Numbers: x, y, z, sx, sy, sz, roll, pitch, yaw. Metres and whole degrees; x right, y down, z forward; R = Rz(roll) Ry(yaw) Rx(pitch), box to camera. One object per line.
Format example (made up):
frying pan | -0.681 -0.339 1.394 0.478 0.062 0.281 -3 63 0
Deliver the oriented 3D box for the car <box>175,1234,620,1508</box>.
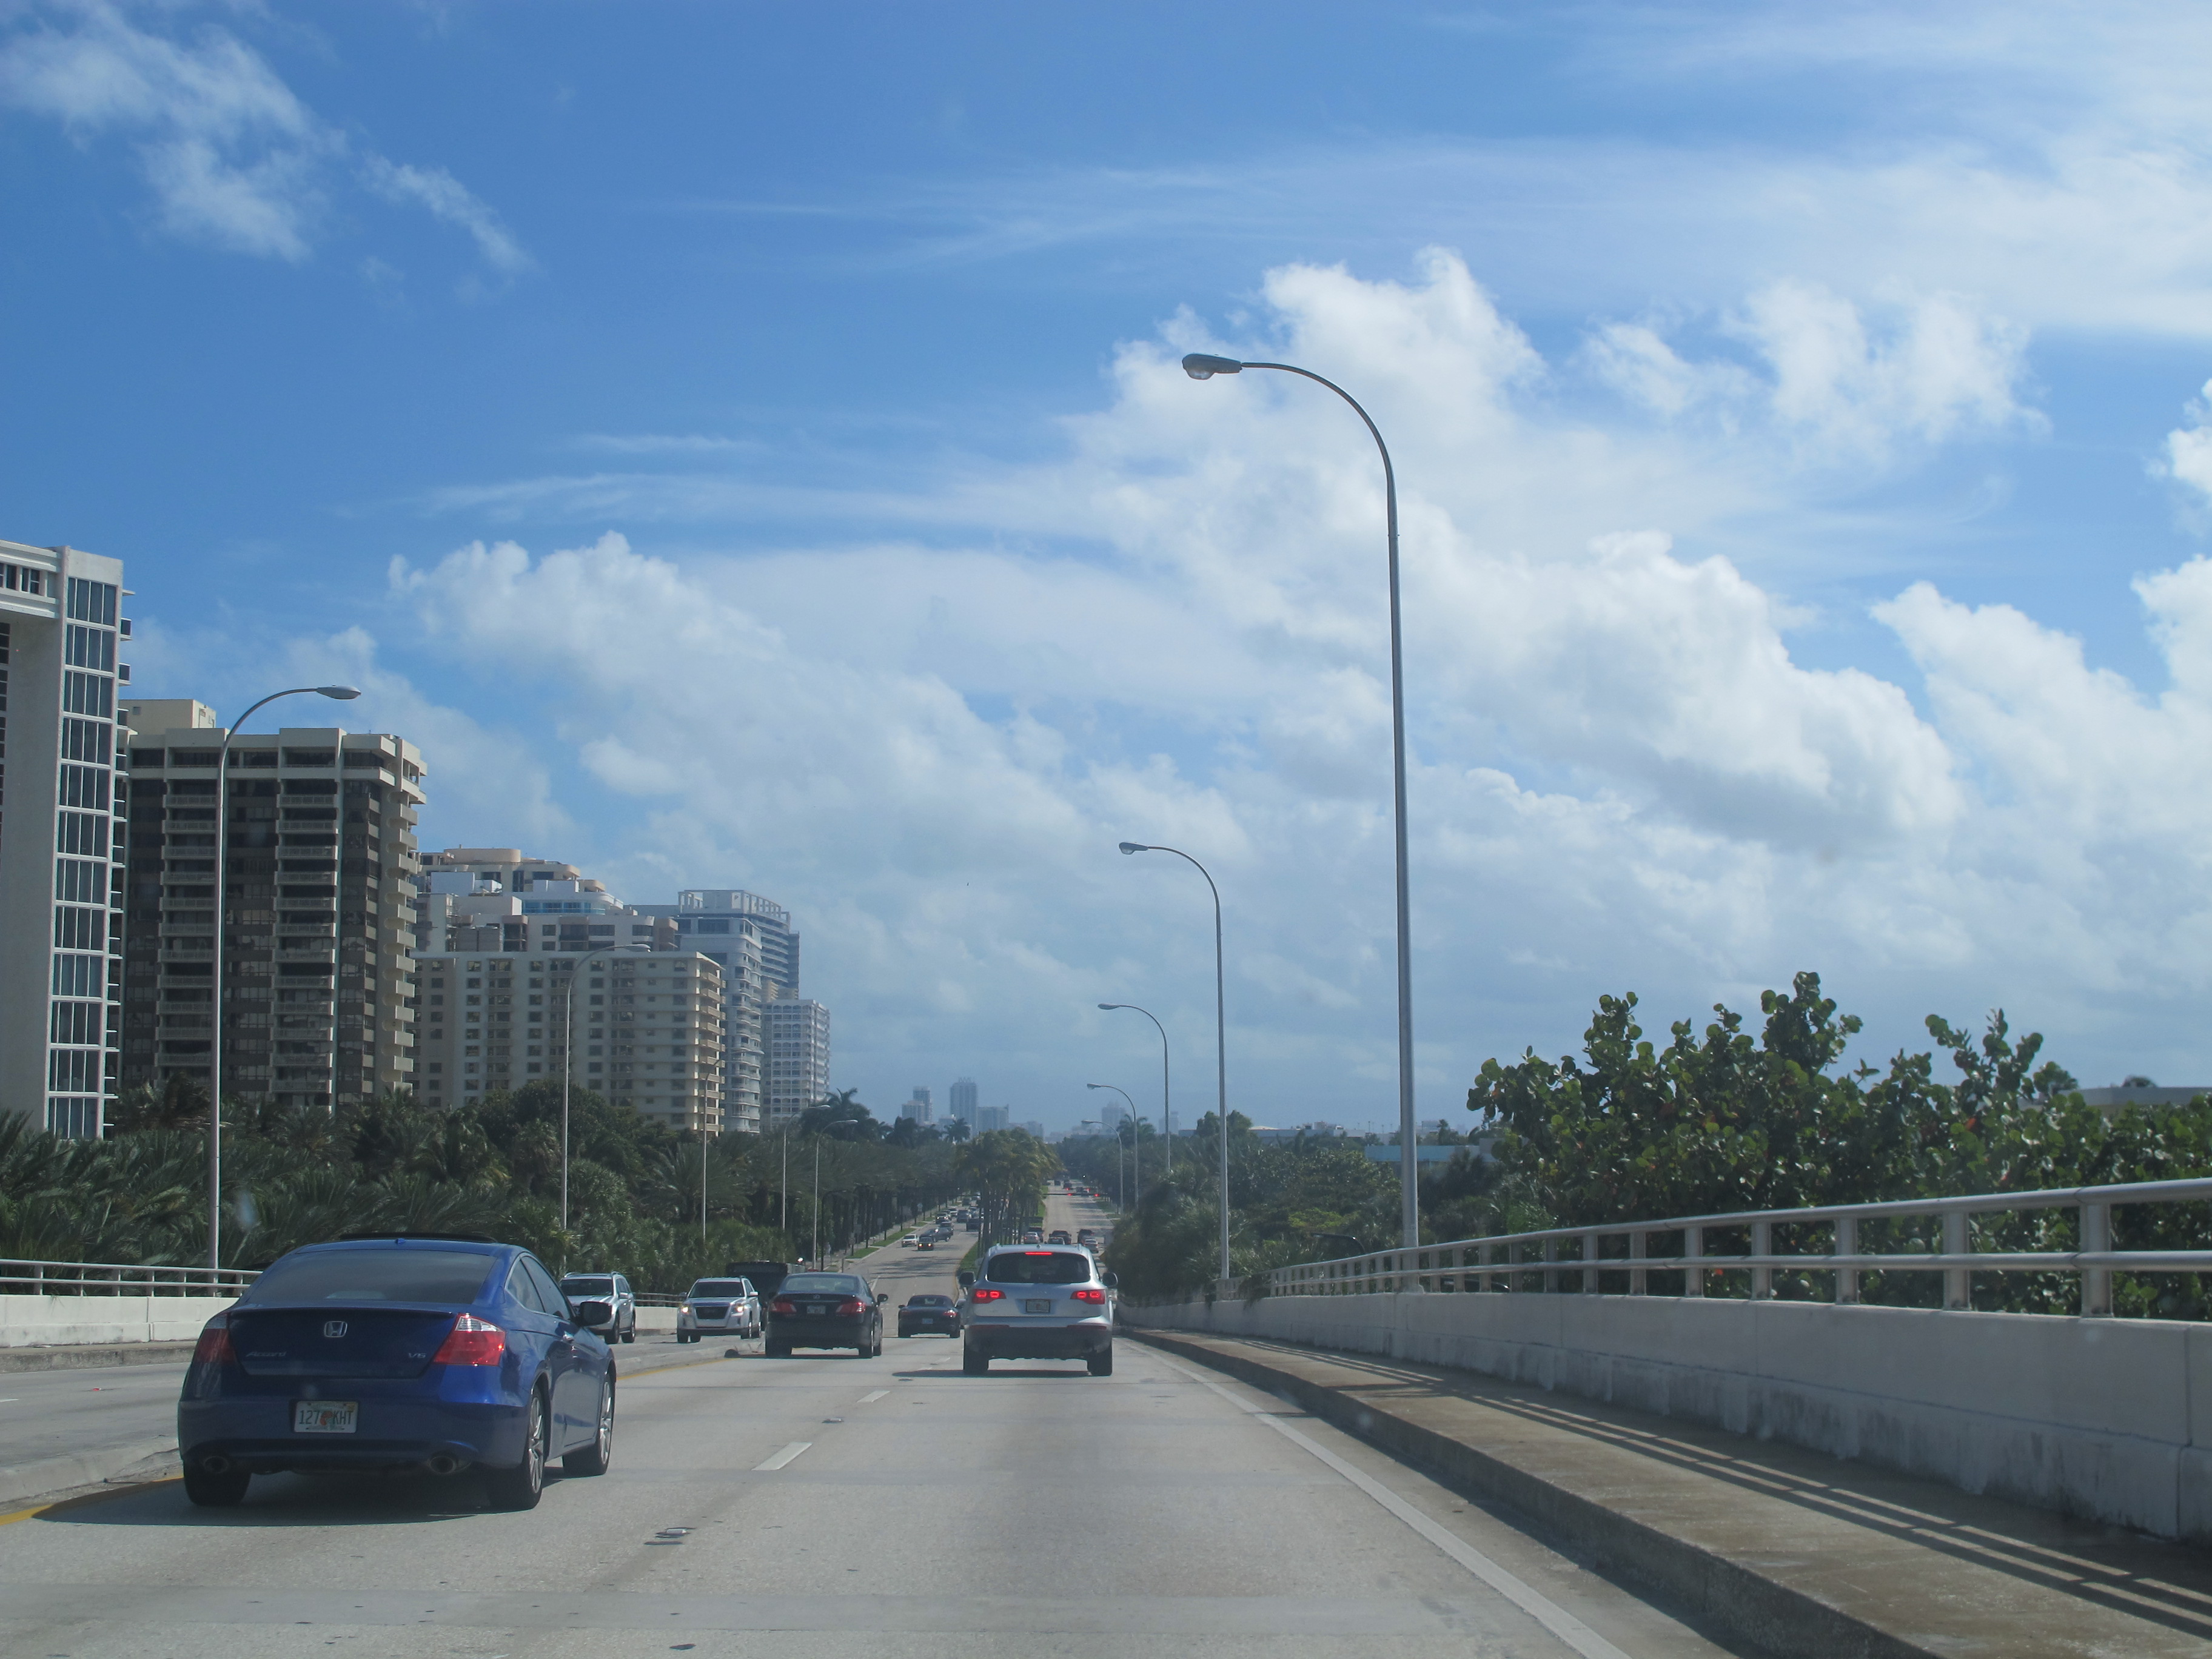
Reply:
car | -4.715 3.680 19.173 1.329 1.171 3.217 0 -9 5
